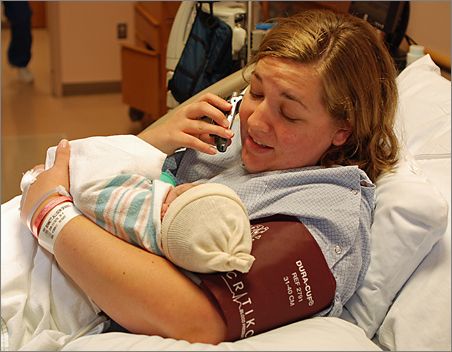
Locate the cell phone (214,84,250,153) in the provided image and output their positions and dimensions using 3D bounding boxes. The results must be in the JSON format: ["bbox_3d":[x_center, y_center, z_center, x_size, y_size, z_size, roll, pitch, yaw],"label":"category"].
[{"bbox_3d":[0.016,-0.188,1.376,0.108,0.209,0.051,11,-5,-20],"label":"cell phone"}]

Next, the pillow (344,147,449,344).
[{"bbox_3d":[0.489,0.199,1.256,0.116,0.430,0.343,18,22,-25],"label":"pillow"}]

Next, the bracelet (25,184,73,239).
[{"bbox_3d":[-0.484,0.077,1.203,0.046,0.124,0.137,27,70,26],"label":"bracelet"}]

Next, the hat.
[{"bbox_3d":[-0.051,0.112,1.070,0.161,0.192,0.227,-12,28,-24],"label":"hat"}]
